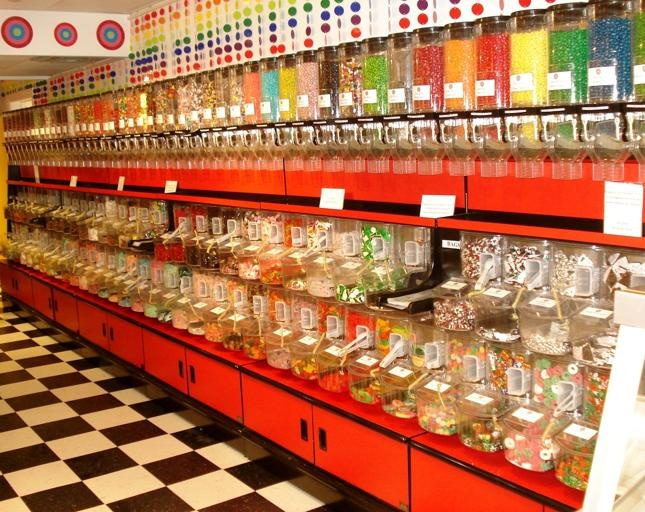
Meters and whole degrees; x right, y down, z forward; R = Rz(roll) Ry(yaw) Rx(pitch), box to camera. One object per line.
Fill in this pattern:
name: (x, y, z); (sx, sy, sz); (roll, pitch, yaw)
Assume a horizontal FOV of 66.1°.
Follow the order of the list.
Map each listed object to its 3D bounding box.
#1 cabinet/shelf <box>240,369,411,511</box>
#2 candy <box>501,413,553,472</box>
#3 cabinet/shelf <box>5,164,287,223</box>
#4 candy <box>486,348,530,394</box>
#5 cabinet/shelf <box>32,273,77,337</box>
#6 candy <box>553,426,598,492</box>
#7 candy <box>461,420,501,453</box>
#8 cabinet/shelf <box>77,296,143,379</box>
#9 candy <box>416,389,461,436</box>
cabinet/shelf: (-0.061, 0.952, 2.662); (0.146, 0.417, 1.289); (-12, 14, -36)
candy: (0.776, 0.690, 1.901); (0.246, 0.152, 0.187); (-7, 10, -44)
cabinet/shelf: (-1.875, -0.673, 4.785); (4.899, 0.311, 0.302); (7, 15, 43)
candy: (0.745, 0.453, 2.006); (0.063, 0.200, 0.183); (-13, 14, -38)
cabinet/shelf: (-3.090, 0.543, 5.631); (0.825, 0.230, 0.244); (15, 18, 39)
candy: (0.894, 0.707, 1.738); (0.129, 0.224, 0.165); (5, 14, 38)
candy: (0.651, 0.718, 2.059); (0.165, 0.104, 0.152); (0, -2, -4)
cabinet/shelf: (-1.990, 0.755, 4.592); (0.851, 0.264, 0.252); (13, 16, 37)
candy: (0.492, 0.683, 2.135); (0.223, 0.138, 0.205); (-1, 2, -2)
